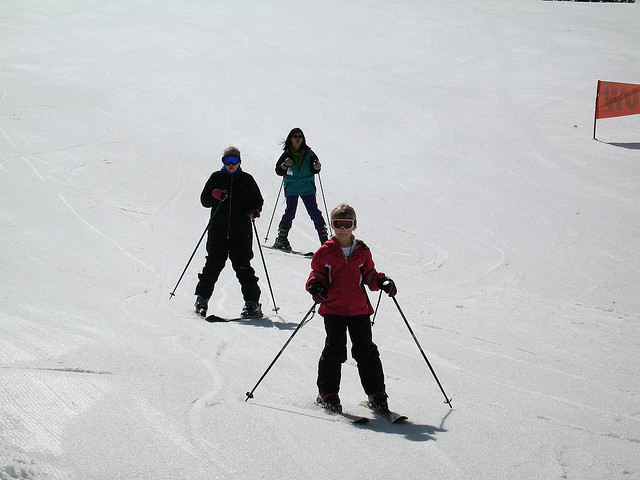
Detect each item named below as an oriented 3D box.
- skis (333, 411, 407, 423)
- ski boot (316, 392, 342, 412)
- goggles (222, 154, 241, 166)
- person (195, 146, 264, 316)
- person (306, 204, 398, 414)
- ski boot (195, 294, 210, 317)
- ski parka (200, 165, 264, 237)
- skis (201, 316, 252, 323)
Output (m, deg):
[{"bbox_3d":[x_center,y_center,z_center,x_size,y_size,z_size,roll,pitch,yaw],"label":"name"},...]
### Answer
[{"bbox_3d":[0.445,1.560,5.763,0.631,0.101,0.238,5,-7,3],"label":"skis"},{"bbox_3d":[0.093,1.446,5.877,0.100,0.114,0.263,-1,14,-28],"label":"ski boot"},{"bbox_3d":[-1.115,-1.013,8.219,0.213,0.150,0.162,7,-8,-7],"label":"goggles"},{"bbox_3d":[-1.113,-0.093,8.342,0.900,2.157,0.626,8,-8,-5],"label":"person"},{"bbox_3d":[0.286,0.631,5.962,0.826,1.868,0.456,6,-8,6],"label":"person"},{"bbox_3d":[-1.499,0.829,8.320,0.138,0.255,0.273,16,-33,-8],"label":"ski boot"},{"bbox_3d":[-1.119,-0.471,8.320,0.742,0.842,0.271,7,-8,-6],"label":"ski parka"},{"bbox_3d":[-1.161,0.983,8.100,0.606,0.055,0.285,6,-7,-3],"label":"skis"}]
